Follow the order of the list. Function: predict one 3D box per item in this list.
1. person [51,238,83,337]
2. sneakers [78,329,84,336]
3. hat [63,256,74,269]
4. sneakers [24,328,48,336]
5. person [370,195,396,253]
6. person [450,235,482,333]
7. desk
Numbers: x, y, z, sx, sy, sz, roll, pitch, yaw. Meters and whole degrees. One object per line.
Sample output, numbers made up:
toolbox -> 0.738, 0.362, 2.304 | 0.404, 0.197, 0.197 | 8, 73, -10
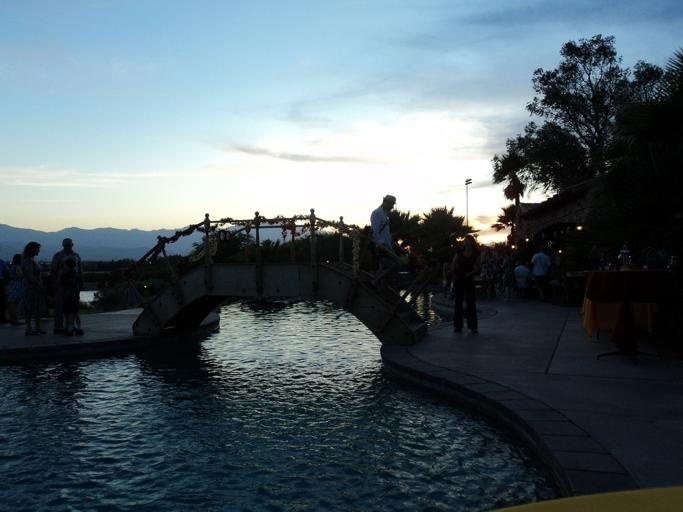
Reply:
person -> -6.515, 0.732, 12.013 | 0.650, 2.326, 1.261 | -4, 5, -30
sneakers -> -6.278, 1.842, 12.213 | 0.128, 0.127, 0.131 | 1, 2, -27
hat -> -6.369, 0.150, 11.845 | 0.245, 0.280, 0.151 | -4, 5, -29
sneakers -> -7.495, 1.852, 12.277 | 0.605, 0.232, 0.203 | 0, -1, -6
person -> 0.956, -0.708, 11.544 | 0.593, 1.312, 1.044 | -1, 4, 5
person -> 2.864, 0.665, 11.578 | 0.561, 2.257, 0.835 | 0, 5, 14
desk -> 4.937, 0.983, 8.928 | 1.132, 1.343, 1.247 | -13, -13, 42
